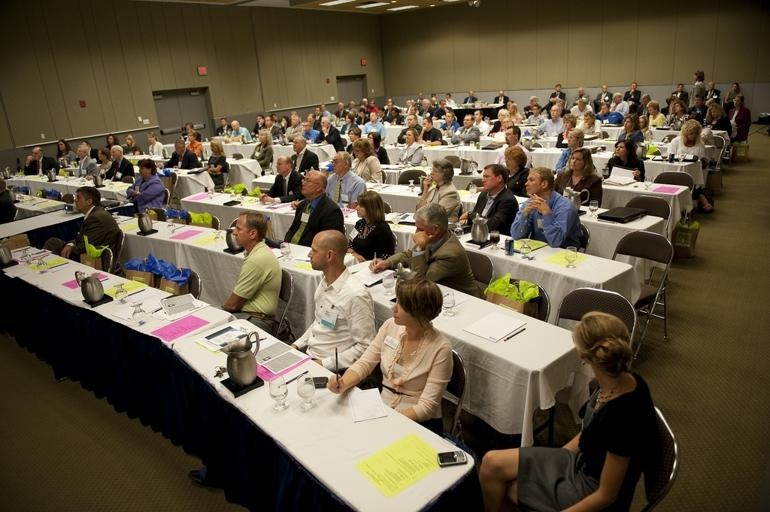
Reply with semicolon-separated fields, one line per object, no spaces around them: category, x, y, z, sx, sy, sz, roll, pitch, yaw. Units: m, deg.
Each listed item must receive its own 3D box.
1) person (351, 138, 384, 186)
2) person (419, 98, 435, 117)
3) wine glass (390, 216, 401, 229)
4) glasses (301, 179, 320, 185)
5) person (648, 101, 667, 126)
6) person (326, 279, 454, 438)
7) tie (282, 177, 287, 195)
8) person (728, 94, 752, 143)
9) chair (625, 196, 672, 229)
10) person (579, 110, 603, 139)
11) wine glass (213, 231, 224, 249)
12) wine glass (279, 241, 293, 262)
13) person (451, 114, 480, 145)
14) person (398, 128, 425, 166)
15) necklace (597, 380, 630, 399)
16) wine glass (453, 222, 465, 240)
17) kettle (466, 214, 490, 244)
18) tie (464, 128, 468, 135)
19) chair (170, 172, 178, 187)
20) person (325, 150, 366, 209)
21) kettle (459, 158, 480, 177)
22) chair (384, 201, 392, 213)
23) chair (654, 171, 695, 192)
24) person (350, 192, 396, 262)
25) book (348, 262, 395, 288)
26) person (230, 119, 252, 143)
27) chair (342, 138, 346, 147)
person;-0.388;-1.544;8.302;0.664;0.867;0.521;7;18;40
person;1.413;-4.905;16.190;0.471;0.519;1.385;-2;19;6
wine glass;0.114;-0.413;6.215;0.114;0.195;0.128;-1;8;-4
glasses;-0.941;-0.909;5.944;0.215;0.072;0.087;11;25;39
person;6.428;-3.321;11.436;0.409;0.518;0.933;6;22;27
person;0.046;0.974;3.668;0.869;1.549;0.717;-6;15;-28
tie;-1.578;-1.105;7.617;0.101;0.189;0.044;10;6;36
person;8.508;-3.239;11.630;0.423;1.082;1.100;9;23;34
chair;3.322;-0.528;6.097;0.348;0.513;0.384;1;11;37
person;4.557;-2.909;10.751;0.487;0.483;1.202;3;21;21
wine glass;-2.090;-0.204;6.052;0.109;0.119;0.380;-2;15;-22
wine glass;-1.122;-0.064;5.450;0.156;0.190;0.168;-1;-3;-8
person;1.843;-2.907;11.176;0.581;0.572;2.286;-2;19;8
person;0.502;-2.085;9.576;0.474;0.793;0.538;-3;8;-29
necklace;1.448;0.847;3.077;0.121;0.073;0.094;-2;8;21
wine glass;0.861;-0.297;5.702;0.128;0.065;0.188;2;26;12
kettle;1.013;-0.282;5.410;0.199;0.295;0.282;-1;9;3
tie;1.897;-2.880;11.325;0.090;0.129;0.066;1;-14;2
chair;-4.248;-1.512;9.751;0.122;0.277;0.214;-12;20;-21
person;-0.626;-1.090;7.194;0.446;0.859;0.778;-15;26;-42
kettle;1.503;-1.492;8.252;0.451;0.365;0.298;-1;17;-9
chair;0.018;-0.666;6.620;0.129;0.132;0.118;9;20;31
chair;4.347;-1.035;7.262;0.384;0.488;0.452;3;10;41
person;-0.191;-0.287;5.674;0.469;0.895;0.659;-11;20;-38
book;-0.192;0.191;4.886;0.293;0.075;0.296;21;34;39
person;-4.142;-3.504;13.733;0.524;0.534;1.411;-10;20;-17
chair;-1.099;-3.028;12.987;0.177;0.251;0.206;-4;23;-6
